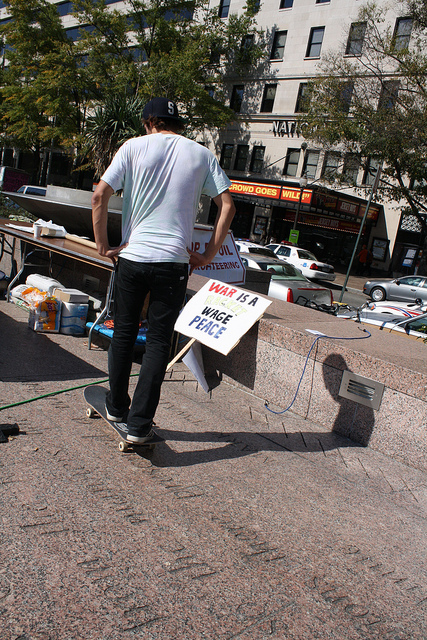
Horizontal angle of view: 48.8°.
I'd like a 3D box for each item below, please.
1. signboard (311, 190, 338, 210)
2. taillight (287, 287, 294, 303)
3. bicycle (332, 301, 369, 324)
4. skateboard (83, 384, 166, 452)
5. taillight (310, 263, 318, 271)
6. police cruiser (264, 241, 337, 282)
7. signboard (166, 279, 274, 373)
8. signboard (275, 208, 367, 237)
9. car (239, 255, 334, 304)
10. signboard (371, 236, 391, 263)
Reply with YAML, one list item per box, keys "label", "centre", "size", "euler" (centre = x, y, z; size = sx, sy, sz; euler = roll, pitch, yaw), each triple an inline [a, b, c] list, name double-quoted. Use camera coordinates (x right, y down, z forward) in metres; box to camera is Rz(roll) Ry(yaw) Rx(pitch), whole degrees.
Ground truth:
- label: "signboard"
  centre: [6.729, -7.118, 28.238]
  size: [1.020, 0.983, 0.245]
  euler: [0, 9, -30]
- label: "taillight"
  centre: [1.596, -0.506, 9.752]
  size: [0.162, 0.256, 0.465]
  euler: [12, 5, 9]
- label: "bicycle"
  centre: [3.053, -0.140, 10.438]
  size: [0.837, 0.351, 0.837]
  euler: [10, 13, 17]
- label: "skateboard"
  centre: [-0.605, 0.589, 2.906]
  size: [0.247, 0.217, 0.867]
  euler: [7, 7, -37]
- label: "taillight"
  centre: [4.820, -2.520, 22.609]
  size: [0.382, 0.316, 0.152]
  euler: [10, 5, -16]
- label: "police cruiser"
  centre: [3.735, -3.043, 25.035]
  size: [2.182, 1.807, 5.609]
  euler: [6, 8, -43]
- label: "signboard"
  centre: [0.029, -0.047, 3.759]
  size: [0.690, 0.507, 0.534]
  euler: [15, 6, 37]
- label: "signboard"
  centre: [7.371, -7.062, 33.440]
  size: [5.707, 1.514, 1.272]
  euler: [13, 5, 19]
- label: "car"
  centre: [1.752, -0.890, 10.817]
  size: [1.356, 0.888, 2.089]
  euler: [9, 6, -21]
- label: "signboard"
  centre: [11.421, -4.807, 32.157]
  size: [1.596, 2.152, 0.274]
  euler: [19, 23, 39]
